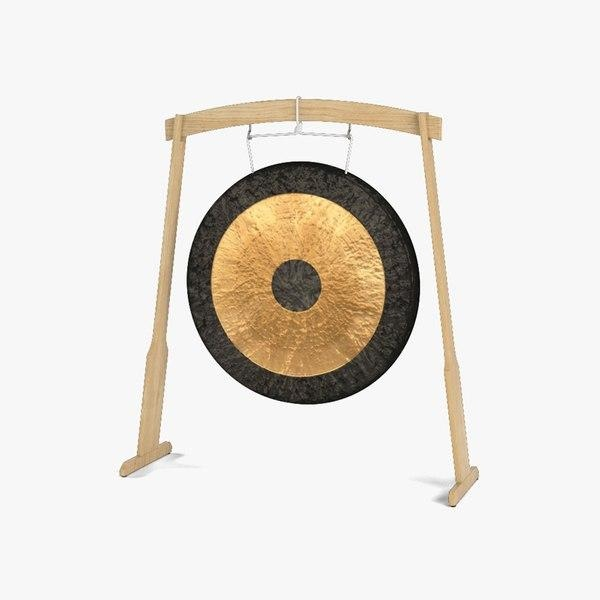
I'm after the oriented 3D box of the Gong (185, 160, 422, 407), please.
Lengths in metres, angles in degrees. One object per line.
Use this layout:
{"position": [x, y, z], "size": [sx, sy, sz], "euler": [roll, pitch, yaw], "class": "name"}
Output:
{"position": [-0.007, -0.068, 3.728], "size": [1.012, 0.286, 1.080], "euler": [-4, -87, 0], "class": "Gong"}
